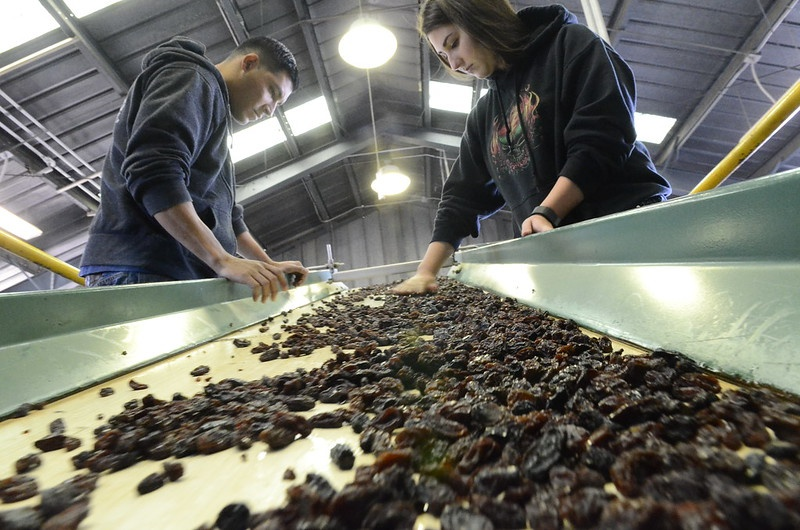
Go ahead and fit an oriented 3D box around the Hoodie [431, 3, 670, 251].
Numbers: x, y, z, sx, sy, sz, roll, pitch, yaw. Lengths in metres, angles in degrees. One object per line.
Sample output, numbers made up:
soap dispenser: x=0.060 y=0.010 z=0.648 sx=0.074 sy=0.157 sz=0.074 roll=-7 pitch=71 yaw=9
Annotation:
Hoodie: x=0.836 y=-0.867 z=2.583 sx=0.568 sy=1.504 sz=1.431 roll=-11 pitch=9 yaw=-25
